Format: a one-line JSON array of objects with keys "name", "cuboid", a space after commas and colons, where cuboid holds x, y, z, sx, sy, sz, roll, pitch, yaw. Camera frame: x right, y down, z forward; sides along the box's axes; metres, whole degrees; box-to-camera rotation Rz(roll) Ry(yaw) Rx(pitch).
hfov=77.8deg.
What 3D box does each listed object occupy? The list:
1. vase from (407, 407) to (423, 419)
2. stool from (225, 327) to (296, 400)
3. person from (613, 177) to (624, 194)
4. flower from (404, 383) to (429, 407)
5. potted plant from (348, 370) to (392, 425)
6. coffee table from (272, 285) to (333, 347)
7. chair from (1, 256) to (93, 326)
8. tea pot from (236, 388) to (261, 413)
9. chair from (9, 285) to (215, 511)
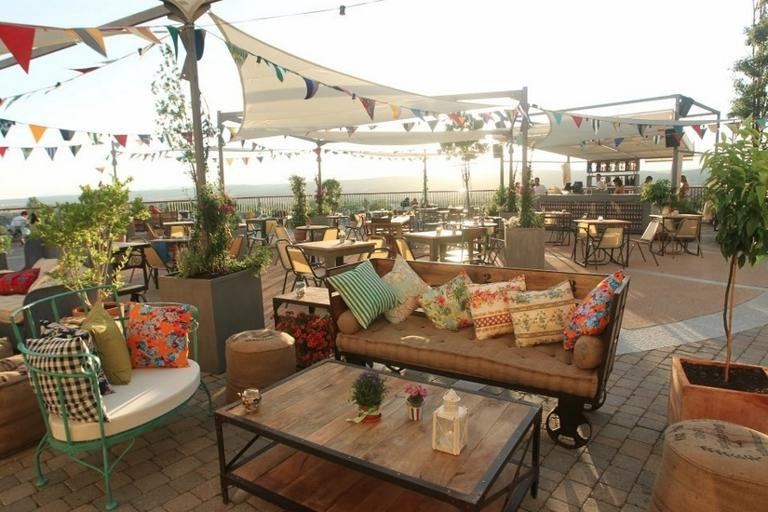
[{"name": "vase", "cuboid": [0.247, 1.253, 3.823, 0.105, 0.080, 0.107, 0, -1, 40]}, {"name": "stool", "cuboid": [-1.218, 1.048, 4.957, 0.657, 0.618, 0.667, 1, 4, 14]}, {"name": "person", "cuboid": [7.629, -2.296, 15.531, 0.189, 0.510, 1.122, 0, 8, 29]}, {"name": "flower", "cuboid": [0.254, 1.108, 3.772, 0.155, 0.163, 0.160, 1, 3, 10]}, {"name": "potted plant", "cuboid": [-0.108, 1.152, 3.918, 0.360, 0.451, 0.350, 1, -1, -1]}, {"name": "coffee table", "cuboid": [-0.901, 0.717, 5.882, 0.611, 0.414, 0.673, 2, 5, 18]}, {"name": "chair", "cuboid": [-3.949, 0.439, 5.621, 0.760, 0.517, 0.742, 4, 8, 25]}, {"name": "tea pot", "cuboid": [-1.095, 1.178, 3.922, 0.207, 0.180, 0.156, -1, 7, -13]}, {"name": "chair", "cuboid": [-2.405, 1.334, 4.269, 0.934, 1.290, 1.576, 3, 9, 14]}]
